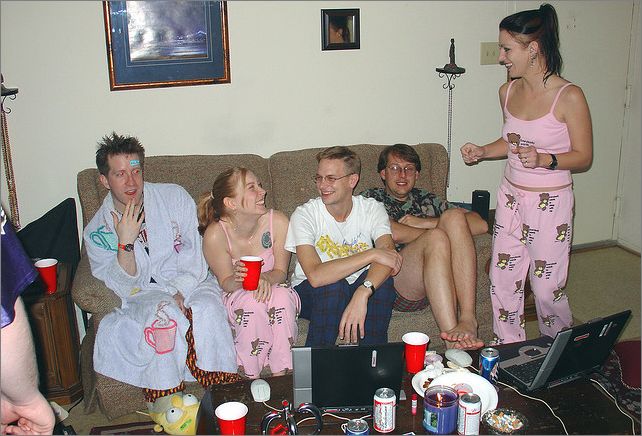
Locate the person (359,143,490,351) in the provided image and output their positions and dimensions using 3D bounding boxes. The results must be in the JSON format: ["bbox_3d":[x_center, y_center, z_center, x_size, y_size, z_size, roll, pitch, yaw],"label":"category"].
[{"bbox_3d":[0.668,0.232,3.101,0.684,1.182,1.286,-6,18,-1],"label":"person"}]

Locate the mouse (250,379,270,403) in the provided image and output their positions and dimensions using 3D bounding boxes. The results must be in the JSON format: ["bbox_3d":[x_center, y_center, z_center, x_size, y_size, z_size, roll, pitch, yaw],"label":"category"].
[{"bbox_3d":[-0.270,0.775,2.320,0.066,0.025,0.090,1,29,-5],"label":"mouse"}]

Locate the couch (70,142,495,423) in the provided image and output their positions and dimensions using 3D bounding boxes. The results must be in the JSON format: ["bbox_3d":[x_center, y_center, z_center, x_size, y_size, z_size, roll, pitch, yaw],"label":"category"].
[{"bbox_3d":[-0.269,0.386,2.888,1.511,0.733,0.576,-8,26,-12],"label":"couch"}]

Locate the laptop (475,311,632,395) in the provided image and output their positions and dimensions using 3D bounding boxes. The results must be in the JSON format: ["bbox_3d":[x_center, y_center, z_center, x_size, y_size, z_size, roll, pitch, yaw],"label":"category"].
[{"bbox_3d":[1.106,0.632,2.399,0.491,0.326,0.433,-14,22,-17],"label":"laptop"}]

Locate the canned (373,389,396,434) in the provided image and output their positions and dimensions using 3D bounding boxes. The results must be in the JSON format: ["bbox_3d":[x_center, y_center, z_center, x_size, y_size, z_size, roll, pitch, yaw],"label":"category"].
[{"bbox_3d":[0.273,0.804,2.225,0.097,0.169,0.154,-2,18,11],"label":"canned"}]

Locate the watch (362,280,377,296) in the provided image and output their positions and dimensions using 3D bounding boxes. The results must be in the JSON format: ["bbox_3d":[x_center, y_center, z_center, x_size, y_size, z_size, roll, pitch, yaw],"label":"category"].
[{"bbox_3d":[0.273,0.386,2.864,0.055,0.042,0.073,-9,53,-21],"label":"watch"}]

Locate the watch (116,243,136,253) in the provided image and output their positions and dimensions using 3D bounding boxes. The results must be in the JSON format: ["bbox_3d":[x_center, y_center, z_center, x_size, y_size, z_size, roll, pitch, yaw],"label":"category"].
[{"bbox_3d":[-1.121,0.174,2.969,0.060,0.033,0.049,6,6,41],"label":"watch"}]

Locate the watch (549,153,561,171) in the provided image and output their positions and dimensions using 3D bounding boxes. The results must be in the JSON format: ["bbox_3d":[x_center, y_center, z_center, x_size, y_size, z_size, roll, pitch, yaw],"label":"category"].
[{"bbox_3d":[1.305,-0.307,2.890,0.068,0.065,0.066,-21,23,-25],"label":"watch"}]

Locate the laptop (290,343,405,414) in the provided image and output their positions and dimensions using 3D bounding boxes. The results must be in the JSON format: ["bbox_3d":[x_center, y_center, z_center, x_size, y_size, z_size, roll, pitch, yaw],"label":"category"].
[{"bbox_3d":[0.093,0.637,2.147,0.455,0.302,0.303,0,13,-2],"label":"laptop"}]

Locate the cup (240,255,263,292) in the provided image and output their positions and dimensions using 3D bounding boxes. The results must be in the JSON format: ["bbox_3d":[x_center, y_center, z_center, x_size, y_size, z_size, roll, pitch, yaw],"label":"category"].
[{"bbox_3d":[-0.354,0.295,2.892,0.169,0.183,0.161,1,20,-1],"label":"cup"}]
